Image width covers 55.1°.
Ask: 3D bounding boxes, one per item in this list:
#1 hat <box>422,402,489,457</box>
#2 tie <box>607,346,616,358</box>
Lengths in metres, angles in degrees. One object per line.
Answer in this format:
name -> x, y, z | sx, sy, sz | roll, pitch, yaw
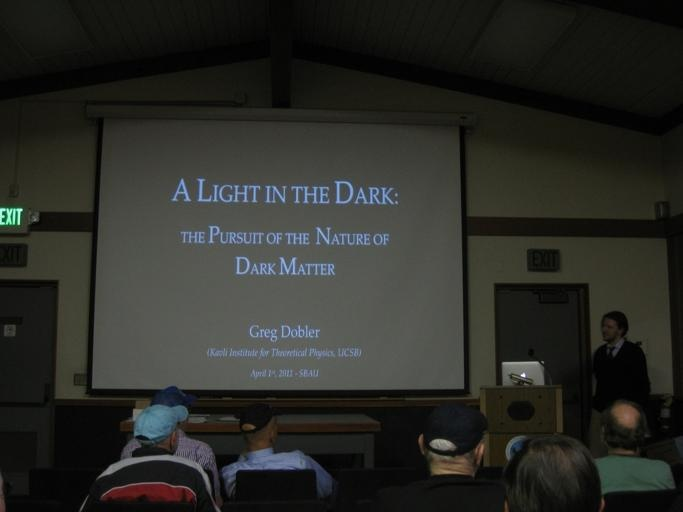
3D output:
hat -> 0.592, 0.908, 3.439 | 0.325, 0.265, 0.109 | -2, -8, 10
tie -> 2.795, 0.981, 6.770 | 0.021, 0.089, 0.081 | 17, -25, -32
